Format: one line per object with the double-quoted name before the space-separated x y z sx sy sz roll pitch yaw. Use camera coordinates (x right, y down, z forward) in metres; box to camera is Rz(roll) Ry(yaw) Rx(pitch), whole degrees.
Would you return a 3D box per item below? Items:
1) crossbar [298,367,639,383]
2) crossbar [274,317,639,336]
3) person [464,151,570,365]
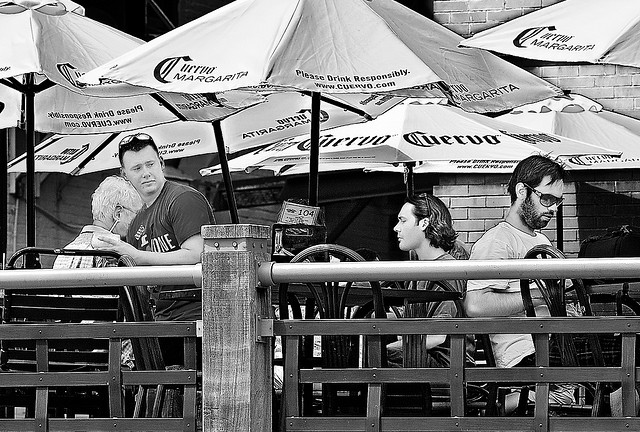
"crossbar" 0.854 0.935 10.248 1.993 0.117 0.069 -2 -16 2
"crossbar" 0.783 0.648 10.258 2.130 0.123 0.059 -2 -16 4
"person" 1.464 0.305 12.059 0.776 1.396 1.129 -12 -7 39
